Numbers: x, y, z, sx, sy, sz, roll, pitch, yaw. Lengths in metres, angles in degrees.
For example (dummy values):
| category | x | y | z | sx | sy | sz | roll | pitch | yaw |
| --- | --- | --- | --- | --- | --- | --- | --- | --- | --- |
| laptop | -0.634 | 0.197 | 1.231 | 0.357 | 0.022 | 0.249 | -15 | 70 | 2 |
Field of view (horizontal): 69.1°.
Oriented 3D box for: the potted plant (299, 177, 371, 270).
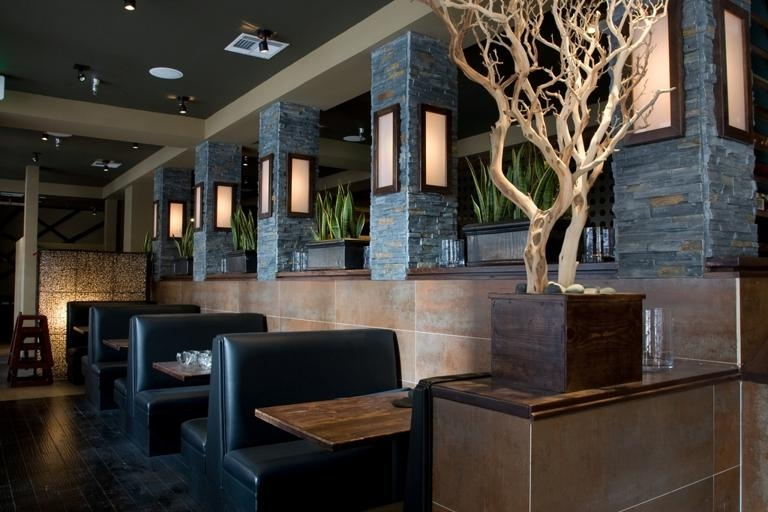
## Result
| category | x | y | z | sx | sy | sz | roll | pitch | yaw |
| --- | --- | --- | --- | --- | --- | --- | --- | --- | --- |
| potted plant | -0.545 | -0.271 | 5.832 | 0.517 | 0.868 | 1.391 | -3 | -2 | -18 |

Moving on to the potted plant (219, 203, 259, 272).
| category | x | y | z | sx | sy | sz | roll | pitch | yaw |
| --- | --- | --- | --- | --- | --- | --- | --- | --- | --- |
| potted plant | -1.959 | -0.254 | 7.525 | 0.458 | 1.007 | 1.168 | -3 | -2 | -16 |

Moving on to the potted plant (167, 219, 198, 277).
| category | x | y | z | sx | sy | sz | roll | pitch | yaw |
| --- | --- | --- | --- | --- | --- | --- | --- | --- | --- |
| potted plant | -3.372 | -0.134 | 9.295 | 0.363 | 0.972 | 1.578 | -3 | -2 | -21 |

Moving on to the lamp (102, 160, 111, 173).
| category | x | y | z | sx | sy | sz | roll | pitch | yaw |
| --- | --- | --- | --- | --- | --- | --- | --- | --- | --- |
| lamp | -5.309 | -1.733 | 10.665 | 0.183 | 0.316 | 0.177 | 0 | 1 | -23 |

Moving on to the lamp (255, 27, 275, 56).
| category | x | y | z | sx | sy | sz | roll | pitch | yaw |
| --- | --- | --- | --- | --- | --- | --- | --- | --- | --- |
| lamp | -1.204 | -2.188 | 5.669 | 0.176 | 0.221 | 0.172 | -1 | -1 | 12 |

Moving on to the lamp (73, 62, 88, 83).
| category | x | y | z | sx | sy | sz | roll | pitch | yaw |
| --- | --- | --- | --- | --- | --- | --- | --- | --- | --- |
| lamp | -3.516 | -2.131 | 6.466 | 0.166 | 0.201 | 0.168 | 4 | 5 | 43 |

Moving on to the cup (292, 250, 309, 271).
| category | x | y | z | sx | sy | sz | roll | pitch | yaw |
| --- | --- | --- | --- | --- | --- | --- | --- | --- | --- |
| cup | -0.918 | 0.048 | 6.085 | 0.230 | 0.249 | 0.224 | 0 | -4 | 0 |

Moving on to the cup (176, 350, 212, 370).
| category | x | y | z | sx | sy | sz | roll | pitch | yaw |
| --- | --- | --- | --- | --- | --- | --- | --- | --- | --- |
| cup | -1.489 | 0.809 | 4.448 | 0.378 | 0.143 | 0.235 | -3 | -6 | 31 |
